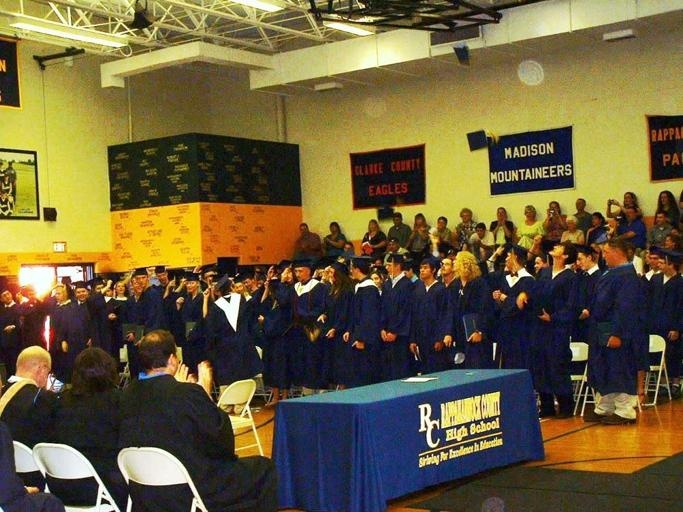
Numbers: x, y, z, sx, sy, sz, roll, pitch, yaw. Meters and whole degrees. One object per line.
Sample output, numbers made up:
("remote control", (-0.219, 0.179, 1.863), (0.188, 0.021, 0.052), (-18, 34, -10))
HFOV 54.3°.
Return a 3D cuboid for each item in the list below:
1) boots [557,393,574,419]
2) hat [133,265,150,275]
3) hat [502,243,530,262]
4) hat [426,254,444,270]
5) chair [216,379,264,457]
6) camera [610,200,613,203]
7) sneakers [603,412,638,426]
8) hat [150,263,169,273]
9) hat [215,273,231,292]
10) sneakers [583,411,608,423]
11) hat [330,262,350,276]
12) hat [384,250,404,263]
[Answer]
("boots", (2.724, 1.771, 8.095), (0.189, 0.293, 0.326), (-3, 2, 19))
("hat", (-3.359, 0.247, 11.115), (0.208, 0.118, 0.397), (-4, 2, -17))
("hat", (2.265, -0.052, 8.649), (0.201, 0.225, 0.703), (-3, 2, 7))
("hat", (1.256, 0.072, 9.052), (0.155, 0.136, 0.252), (-3, -2, 10))
("chair", (-1.113, 1.618, 6.548), (0.516, 0.769, 0.590), (1, -13, -36))
("camera", (5.035, -1.027, 12.414), (0.091, 0.049, 0.067), (4, 0, -40))
("sneakers", (3.181, 1.832, 7.581), (0.364, 0.123, 0.145), (4, -7, -1))
("hat", (-3.126, 0.209, 11.306), (0.306, 0.150, 0.426), (-2, -1, -41))
("hat", (-1.760, 0.384, 9.712), (0.233, 0.177, 0.277), (-2, 2, 33))
("sneakers", (2.943, 1.849, 7.730), (0.267, 0.113, 0.102), (1, -3, 11))
("hat", (-0.007, 0.172, 9.608), (0.237, 0.135, 0.393), (-2, 2, 44))
("hat", (0.752, 0.006, 9.267), (0.242, 0.133, 0.249), (0, -2, -8))
